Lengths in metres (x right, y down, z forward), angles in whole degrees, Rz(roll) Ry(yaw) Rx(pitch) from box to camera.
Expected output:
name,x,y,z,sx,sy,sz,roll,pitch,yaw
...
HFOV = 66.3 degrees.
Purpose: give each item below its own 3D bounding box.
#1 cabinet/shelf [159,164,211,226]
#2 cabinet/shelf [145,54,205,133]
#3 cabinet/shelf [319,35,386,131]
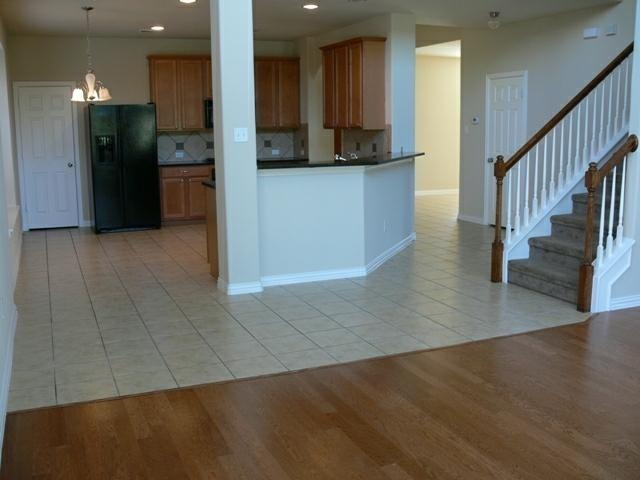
name,x,y,z,sx,sy,sz,roll,pitch,yaw
cabinet/shelf,-2.468,-0.838,8.810,1.095,1.339,0.657,-3,6,-24
cabinet/shelf,-2.700,-2.758,9.025,1.406,1.561,0.542,-3,9,-18
cabinet/shelf,0.532,-2.427,7.713,0.360,1.333,1.273,-9,15,-34
